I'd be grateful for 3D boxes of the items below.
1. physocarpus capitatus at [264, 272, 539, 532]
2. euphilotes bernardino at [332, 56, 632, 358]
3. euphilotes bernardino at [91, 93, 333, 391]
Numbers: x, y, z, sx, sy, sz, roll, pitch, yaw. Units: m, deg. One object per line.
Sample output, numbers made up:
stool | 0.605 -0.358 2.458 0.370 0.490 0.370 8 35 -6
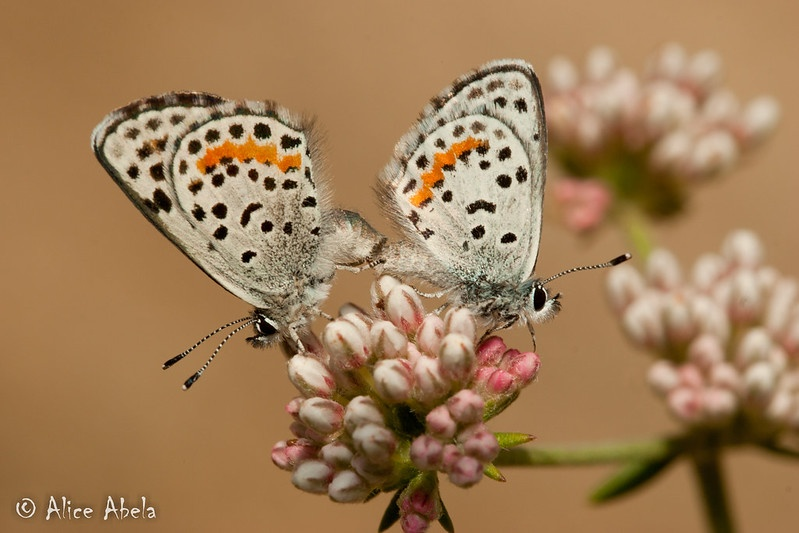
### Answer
physocarpus capitatus | -0.055 0.497 4.010 0.733 1.118 0.661 0 -2 -13
euphilotes bernardino | 0.285 -0.353 4.265 0.737 1.372 1.320 0 -12 1
euphilotes bernardino | -0.687 -0.191 4.310 0.742 0.835 1.139 -13 -5 -37
